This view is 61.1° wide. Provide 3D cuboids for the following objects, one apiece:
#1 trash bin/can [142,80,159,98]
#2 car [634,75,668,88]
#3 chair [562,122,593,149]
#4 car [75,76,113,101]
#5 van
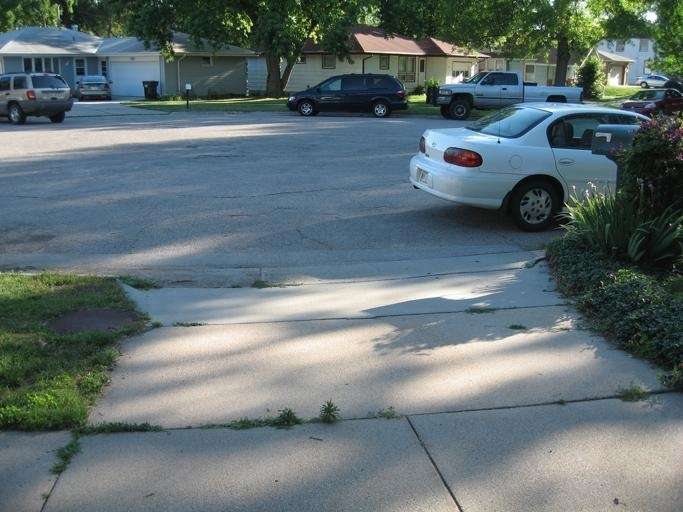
[{"bbox_3d":[-14.056,-12.327,43.147,1.002,1.270,1.793,-3,18,-16],"label":"trash bin/can"},{"bbox_3d":[43.676,-24.688,81.460,2.959,1.842,7.746,9,19,20],"label":"car"},{"bbox_3d":[3.670,-1.828,9.128,0.474,0.407,0.424,6,-3,4],"label":"chair"},{"bbox_3d":[-19.226,-13.126,45.456,2.141,1.781,1.753,-7,20,-28],"label":"car"},{"bbox_3d":[0.444,-8.525,30.965,6.026,1.814,2.403,2,18,1],"label":"van"}]
